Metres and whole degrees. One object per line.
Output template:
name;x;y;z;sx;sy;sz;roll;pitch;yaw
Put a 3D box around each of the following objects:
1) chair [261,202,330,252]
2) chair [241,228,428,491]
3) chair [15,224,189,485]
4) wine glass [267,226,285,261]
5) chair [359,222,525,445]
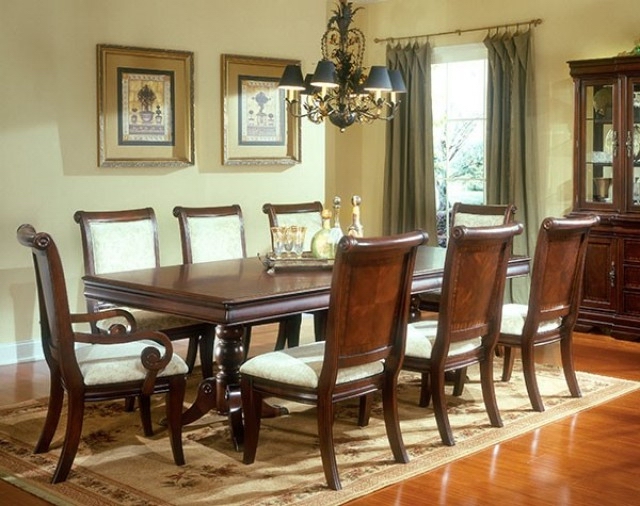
chair;-0.196;-0.185;4.371;0.410;0.617;0.439;-2;-2;-18
chair;0.049;0.416;2.297;0.639;1.038;0.722;-3;4;-33
chair;-0.971;0.441;2.398;0.583;1.046;0.761;7;5;34
wine glass;-0.251;-0.055;3.053;0.118;0.208;0.118;-5;10;-39
chair;0.616;0.395;2.790;0.654;1.065;0.797;-4;3;-34
